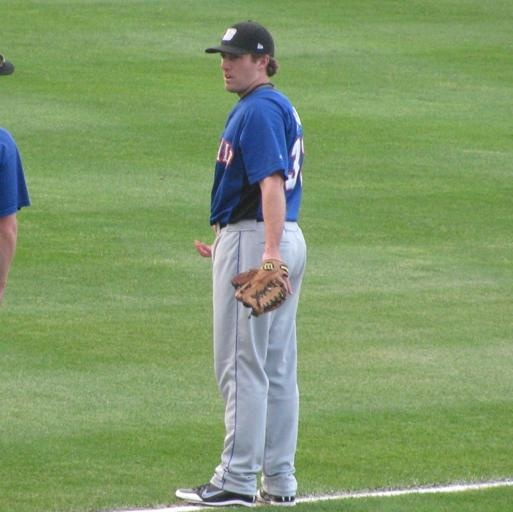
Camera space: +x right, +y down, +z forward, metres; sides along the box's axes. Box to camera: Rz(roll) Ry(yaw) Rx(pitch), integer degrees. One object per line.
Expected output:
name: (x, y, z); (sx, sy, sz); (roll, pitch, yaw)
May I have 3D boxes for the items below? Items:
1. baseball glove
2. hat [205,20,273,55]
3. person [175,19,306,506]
baseball glove: (0.027, 0.176, 9.838); (0.290, 0.321, 0.134); (17, -24, 20)
hat: (-0.090, -1.306, 10.191); (0.423, 0.233, 0.298); (0, -1, -28)
person: (-0.038, 0.049, 10.086); (0.678, 2.856, 0.639); (3, 8, 4)
